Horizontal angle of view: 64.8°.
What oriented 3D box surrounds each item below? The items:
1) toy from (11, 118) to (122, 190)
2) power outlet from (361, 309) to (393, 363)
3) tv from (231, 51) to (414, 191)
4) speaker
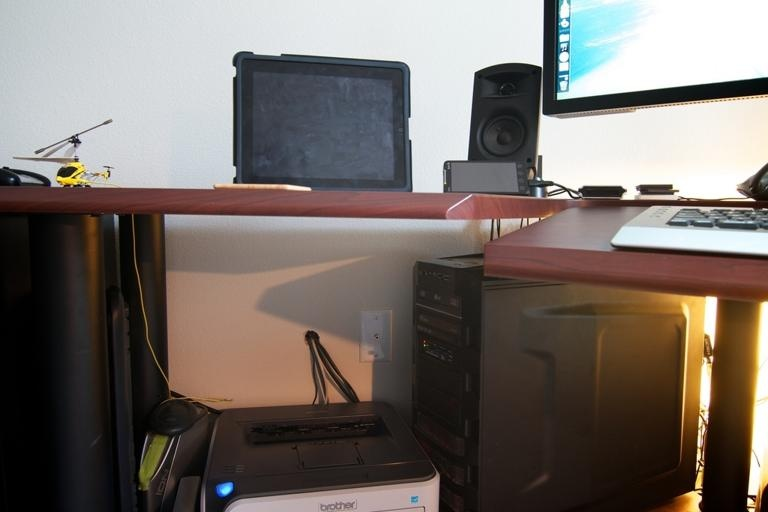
[{"bbox_3d":[-0.912,-0.278,1.662,0.262,0.192,0.382,-1,14,-17],"label":"toy"},{"bbox_3d":[-0.027,0.269,2.013,0.122,0.168,0.019,-3,-8,20],"label":"power outlet"},{"bbox_3d":[-0.170,-0.339,1.572,0.388,0.290,0.041,0,-1,-5],"label":"tv"},{"bbox_3d":[0.347,-0.409,1.741,0.197,0.285,0.110,5,12,9],"label":"speaker"}]
